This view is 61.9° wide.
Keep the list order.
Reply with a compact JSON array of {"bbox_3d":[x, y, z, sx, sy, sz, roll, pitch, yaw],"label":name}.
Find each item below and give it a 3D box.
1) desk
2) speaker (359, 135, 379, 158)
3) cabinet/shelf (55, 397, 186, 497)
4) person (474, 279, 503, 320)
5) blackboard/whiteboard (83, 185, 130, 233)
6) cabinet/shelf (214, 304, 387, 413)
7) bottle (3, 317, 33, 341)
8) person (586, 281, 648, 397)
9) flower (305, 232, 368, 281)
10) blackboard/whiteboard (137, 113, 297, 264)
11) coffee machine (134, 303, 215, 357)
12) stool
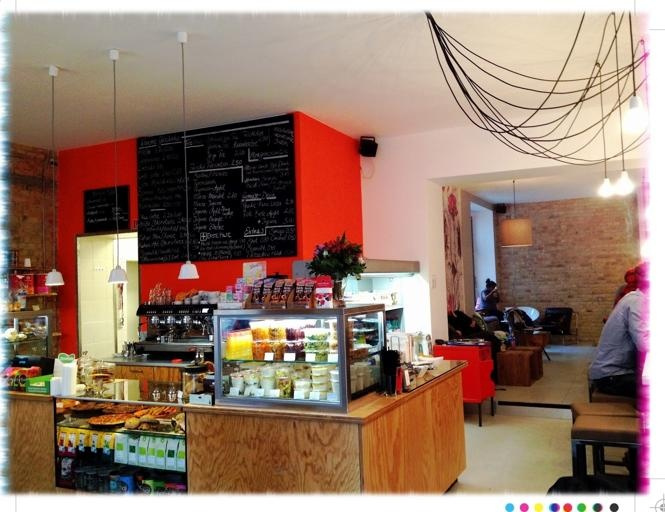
[{"bbox_3d":[1.781,1.635,7.254,0.680,0.974,0.748,-6,-6,23],"label":"desk"},{"bbox_3d":[0.523,-1.569,7.919,0.323,0.317,0.244,3,13,6],"label":"speaker"},{"bbox_3d":[-1.790,1.485,4.731,0.980,0.603,0.335,6,-24,-20],"label":"cabinet/shelf"},{"bbox_3d":[3.359,0.884,11.446,0.633,0.836,0.649,1,1,-34],"label":"person"},{"bbox_3d":[-3.164,-0.663,7.834,0.681,0.599,0.070,1,1,21],"label":"blackboard/whiteboard"},{"bbox_3d":[-0.220,0.826,4.638,1.421,0.702,1.432,0,-8,0],"label":"cabinet/shelf"},{"bbox_3d":[-3.962,0.937,7.013,0.230,0.276,0.396,0,-2,-1],"label":"bottle"},{"bbox_3d":[2.779,0.840,5.407,0.460,1.029,0.373,4,3,25],"label":"person"},{"bbox_3d":[0.062,0.000,4.607,0.380,0.454,0.440,3,4,29],"label":"flower"},{"bbox_3d":[-1.556,-0.795,7.226,2.337,1.746,0.023,-3,-4,20],"label":"blackboard/whiteboard"},{"bbox_3d":[-1.865,0.931,6.844,0.983,0.634,0.535,2,-3,1],"label":"coffee machine"},{"bbox_3d":[2.316,1.512,4.665,0.441,0.355,0.772,-3,4,13],"label":"stool"}]
